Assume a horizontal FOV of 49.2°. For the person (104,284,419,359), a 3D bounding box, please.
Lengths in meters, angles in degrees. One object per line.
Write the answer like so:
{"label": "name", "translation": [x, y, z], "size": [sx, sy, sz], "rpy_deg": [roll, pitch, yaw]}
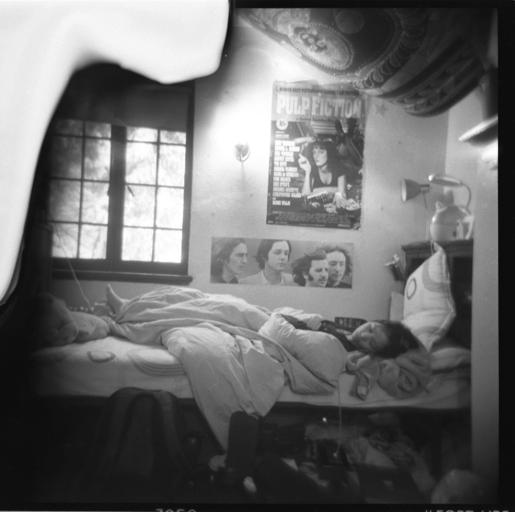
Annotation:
{"label": "person", "translation": [-0.251, 0.287, 2.676], "size": [0.947, 0.304, 0.220], "rpy_deg": [4, 13, -33]}

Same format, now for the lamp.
{"label": "lamp", "translation": [0.832, -0.200, 2.706], "size": [0.279, 0.338, 0.252], "rpy_deg": [-1, 0, 2]}
